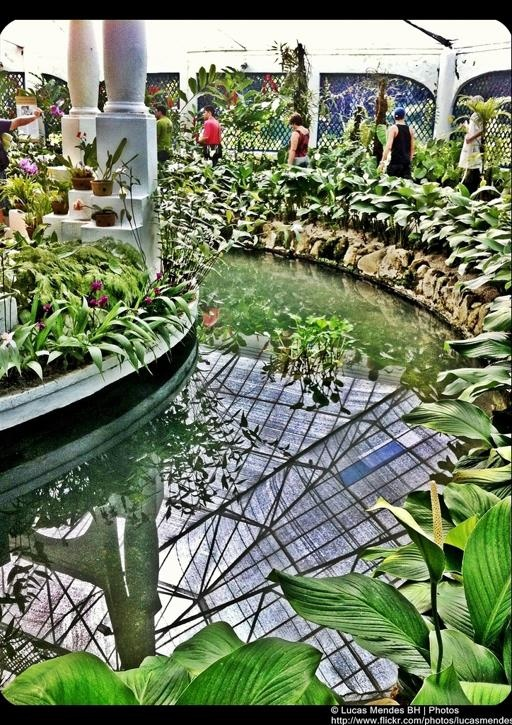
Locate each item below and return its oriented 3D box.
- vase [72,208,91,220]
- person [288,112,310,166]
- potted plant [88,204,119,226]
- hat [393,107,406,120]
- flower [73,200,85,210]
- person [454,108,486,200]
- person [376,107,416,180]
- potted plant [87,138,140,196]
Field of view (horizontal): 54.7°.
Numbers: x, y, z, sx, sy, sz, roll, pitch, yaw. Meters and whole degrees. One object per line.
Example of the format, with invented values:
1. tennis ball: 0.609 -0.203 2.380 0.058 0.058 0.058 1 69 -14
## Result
1. vase: -1.706 -1.434 4.821 0.198 0.158 0.135 -2 15 -19
2. person: 0.698 -3.584 8.082 0.323 0.759 0.902 4 18 4
3. potted plant: -1.361 -1.286 4.408 0.190 0.143 0.196 -1 15 -4
4. hat: 1.989 -3.448 6.880 0.133 0.165 0.316 7 18 12
5. flower: -1.633 -1.435 4.552 0.081 0.088 0.257 -3 19 -19
6. person: 2.924 -2.877 6.643 0.309 1.177 1.923 9 19 19
7. person: 2.095 -3.193 7.296 0.498 0.969 1.057 7 18 13
8. potted plant: -1.276 -1.731 4.461 0.456 0.459 0.424 22 25 39
